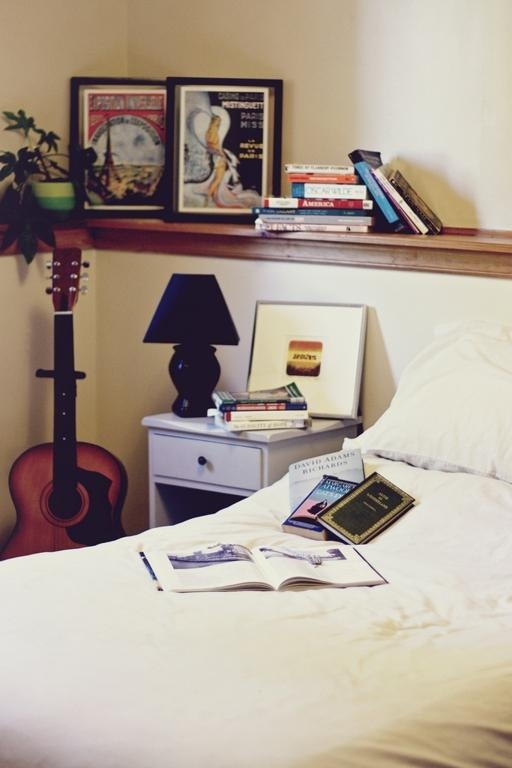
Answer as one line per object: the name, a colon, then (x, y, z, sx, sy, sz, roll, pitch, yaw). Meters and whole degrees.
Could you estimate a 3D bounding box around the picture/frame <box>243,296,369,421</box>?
picture/frame: (0.171, -0.078, 2.233, 0.378, 0.368, 0.045, 5, -1, 18)

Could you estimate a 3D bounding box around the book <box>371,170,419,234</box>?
book: (0.445, -0.556, 2.045, 0.042, 0.178, 0.178, -35, -23, 14)

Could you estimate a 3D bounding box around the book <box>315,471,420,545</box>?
book: (0.238, 0.264, 1.383, 0.156, 0.036, 0.114, -30, 43, -32)

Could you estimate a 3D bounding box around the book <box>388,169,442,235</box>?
book: (0.511, -0.551, 2.064, 0.048, 0.200, 0.200, -37, -32, 12)

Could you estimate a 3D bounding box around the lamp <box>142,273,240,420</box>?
lamp: (-0.179, -0.153, 2.380, 0.408, 0.594, 0.456, 1, 6, 11)

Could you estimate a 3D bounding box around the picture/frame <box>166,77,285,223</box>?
picture/frame: (-0.096, -0.859, 2.356, 0.576, 0.693, 0.048, 2, 7, 7)

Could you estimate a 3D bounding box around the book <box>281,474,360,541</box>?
book: (0.151, 0.272, 1.448, 0.125, 0.035, 0.169, 3, 35, 45)
